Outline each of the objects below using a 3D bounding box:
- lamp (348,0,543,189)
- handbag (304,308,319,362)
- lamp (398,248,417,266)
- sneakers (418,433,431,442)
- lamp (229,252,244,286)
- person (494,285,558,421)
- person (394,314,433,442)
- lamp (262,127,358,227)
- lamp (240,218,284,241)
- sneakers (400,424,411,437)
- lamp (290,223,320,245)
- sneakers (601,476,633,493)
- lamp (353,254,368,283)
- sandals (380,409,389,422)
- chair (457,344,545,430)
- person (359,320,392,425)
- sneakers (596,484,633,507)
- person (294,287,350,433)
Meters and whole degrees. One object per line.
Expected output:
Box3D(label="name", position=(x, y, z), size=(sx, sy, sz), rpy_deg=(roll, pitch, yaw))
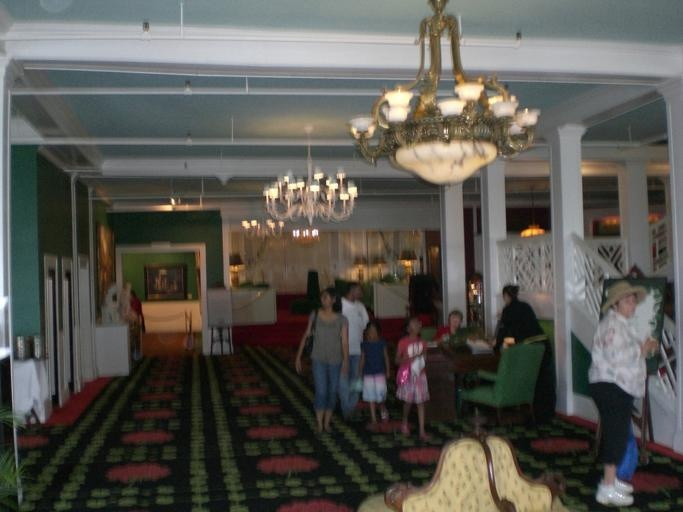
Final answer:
Box3D(label="lamp", position=(0.995, -1.231, 5.319), size=(1.513, 1.546, 1.597), rpy_deg=(2, 12, 22))
Box3D(label="handbag", position=(-0.400, 1.061, 7.962), size=(0.108, 0.511, 0.258), rpy_deg=(7, 1, -10))
Box3D(label="lamp", position=(2.586, 0.091, 22.355), size=(0.567, 0.584, 0.576), rpy_deg=(0, 16, 1))
Box3D(label="sneakers", position=(1.103, 2.380, 7.682), size=(0.131, 0.147, 0.068), rpy_deg=(-3, 10, -6))
Box3D(label="lamp", position=(-3.838, 0.507, 21.835), size=(0.526, 1.198, 2.826), rpy_deg=(-2, 1, -10))
Box3D(label="person", position=(2.706, 1.338, 8.779), size=(0.840, 1.888, 0.649), rpy_deg=(3, 15, 38))
Box3D(label="person", position=(0.959, 1.618, 7.883), size=(0.406, 1.625, 0.407), rpy_deg=(-2, 0, 12))
Box3D(label="lamp", position=(-0.732, -1.434, 11.569), size=(1.702, 2.308, 1.842), rpy_deg=(2, 6, 19))
Box3D(label="lamp", position=(-2.289, -0.820, 17.053), size=(0.979, 0.707, 1.052), rpy_deg=(0, 4, -10))
Box3D(label="sneakers", position=(0.864, 2.354, 7.891), size=(0.140, 0.141, 0.086), rpy_deg=(20, -22, -36))
Box3D(label="lamp", position=(-1.199, -0.674, 19.566), size=(0.778, 0.774, 0.841), rpy_deg=(5, 11, 21))
Box3D(label="sneakers", position=(2.874, 2.335, 5.999), size=(0.248, 0.104, 0.129), rpy_deg=(9, 4, -19))
Box3D(label="lamp", position=(0.781, 0.467, 23.257), size=(0.659, 1.079, 0.508), rpy_deg=(-2, 0, 16))
Box3D(label="sandals", position=(0.646, 2.320, 8.562), size=(0.069, 0.218, 0.053), rpy_deg=(-6, 3, 43))
Box3D(label="chair", position=(2.283, 1.732, 8.365), size=(0.844, 1.175, 1.010), rpy_deg=(0, 3, -18))
Box3D(label="person", position=(0.502, 1.668, 8.501), size=(0.399, 1.502, 0.677), rpy_deg=(-2, 0, 3))
Box3D(label="sneakers", position=(2.744, 2.388, 5.841), size=(0.290, 0.151, 0.192), rpy_deg=(-4, 7, 7))
Box3D(label="person", position=(-0.217, 1.425, 8.016), size=(0.630, 1.944, 0.317), rpy_deg=(-2, 0, 0))
